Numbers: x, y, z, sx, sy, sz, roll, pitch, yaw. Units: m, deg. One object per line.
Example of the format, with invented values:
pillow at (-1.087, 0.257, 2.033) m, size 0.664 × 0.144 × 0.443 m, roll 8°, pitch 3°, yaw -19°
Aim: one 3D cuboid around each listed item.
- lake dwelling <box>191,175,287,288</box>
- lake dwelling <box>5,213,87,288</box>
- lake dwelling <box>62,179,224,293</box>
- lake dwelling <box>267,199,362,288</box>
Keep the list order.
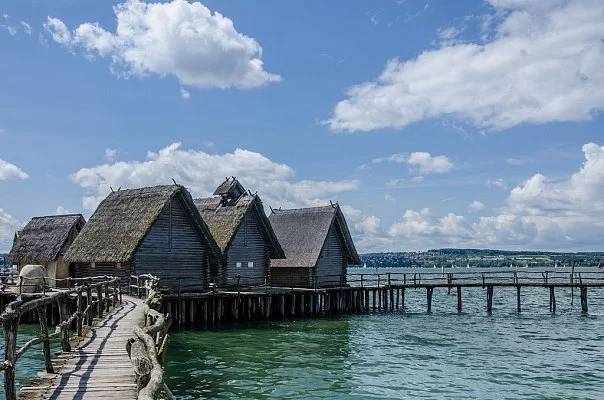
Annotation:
lake dwelling at (-6.171, 2.335, 47.860) m, size 7.163 × 7.605 × 10.747 m, roll 4°, pitch 2°, yaw -28°
lake dwelling at (-17.971, 3.860, 40.696) m, size 6.238 × 4.227 × 4.098 m, roll -8°, pitch -13°, yaw 27°
lake dwelling at (-10.464, 2.443, 38.580) m, size 8.994 × 7.553 × 4.976 m, roll -1°, pitch -12°, yaw -10°
lake dwelling at (0.565, 3.489, 50.411) m, size 6.986 × 5.691 × 8.013 m, roll 3°, pitch -2°, yaw -11°
